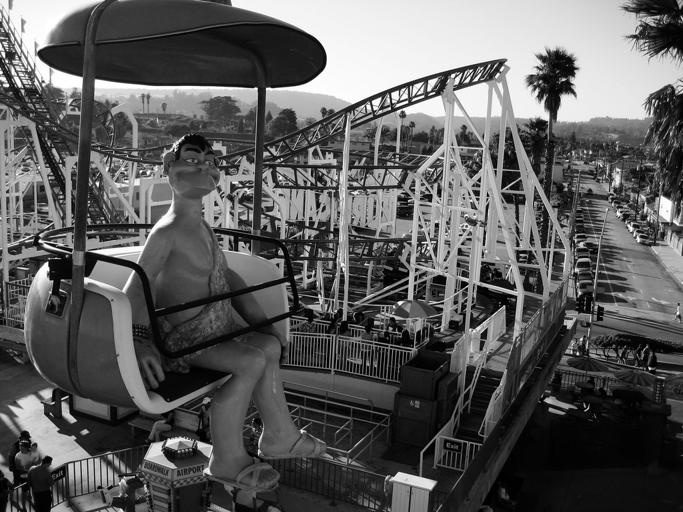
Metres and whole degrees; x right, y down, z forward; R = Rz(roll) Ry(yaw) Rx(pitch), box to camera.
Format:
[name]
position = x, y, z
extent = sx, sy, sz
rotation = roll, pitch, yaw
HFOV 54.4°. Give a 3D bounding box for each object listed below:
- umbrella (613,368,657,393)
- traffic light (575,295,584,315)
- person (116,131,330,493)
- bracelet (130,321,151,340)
[umbrella]
position = 8.883, 3.756, 20.150
extent = 1.152, 0.497, 0.732
rotation = 8, 10, 31
[traffic light]
position = 8.232, 1.774, 23.004
extent = 0.257, 0.546, 0.947
rotation = 5, 9, 20
[person]
position = -0.977, 0.444, 5.212
extent = 1.367, 2.750, 0.814
rotation = -1, 9, -19
[bracelet]
position = -1.477, 0.554, 4.912
extent = 0.057, 0.072, 0.167
rotation = -3, 6, -44
